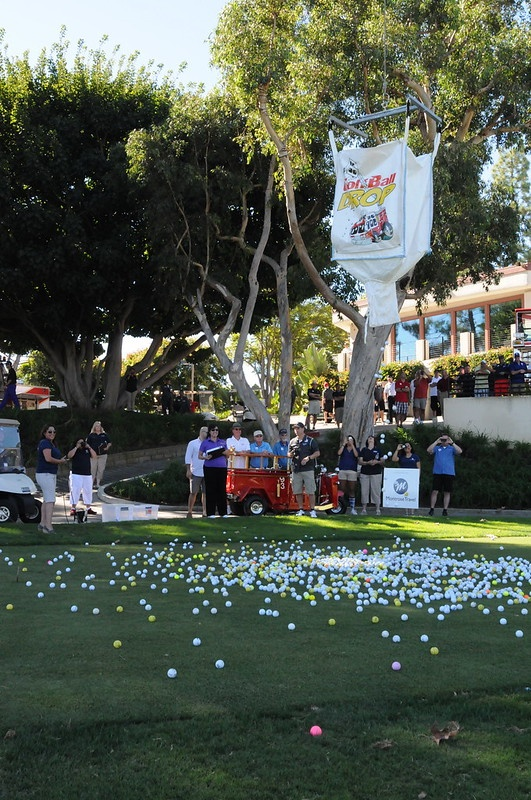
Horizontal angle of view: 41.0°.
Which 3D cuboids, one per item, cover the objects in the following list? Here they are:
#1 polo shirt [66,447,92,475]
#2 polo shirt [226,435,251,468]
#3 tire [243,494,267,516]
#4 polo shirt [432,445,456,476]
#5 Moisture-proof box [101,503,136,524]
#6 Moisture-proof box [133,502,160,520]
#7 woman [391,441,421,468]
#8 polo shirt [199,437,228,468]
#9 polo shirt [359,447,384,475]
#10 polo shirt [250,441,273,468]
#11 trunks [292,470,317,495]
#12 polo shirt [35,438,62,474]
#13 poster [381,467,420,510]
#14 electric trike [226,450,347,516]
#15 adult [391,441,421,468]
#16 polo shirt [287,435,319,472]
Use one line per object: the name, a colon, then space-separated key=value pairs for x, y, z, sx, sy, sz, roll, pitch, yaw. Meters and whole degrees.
polo shirt: x=-3.399 y=1.142 z=13.200 sx=0.342 sy=0.581 sz=0.599 roll=2 pitch=-1 yaw=-16
polo shirt: x=-0.560 y=1.090 z=14.650 sx=0.595 sy=0.985 sz=0.514 roll=1 pitch=-10 yaw=-10
tire: x=-0.227 y=2.103 z=14.195 sx=0.411 sy=0.443 sz=0.148 roll=-1 pitch=-1 yaw=-23
polo shirt: x=3.747 y=1.278 z=14.962 sx=0.410 sy=0.640 sz=0.342 roll=1 pitch=-1 yaw=12
Moisture-proof box: x=-2.628 y=2.054 z=12.844 sx=0.386 sy=0.403 sz=0.514 roll=-3 pitch=-4 yaw=21
Moisture-proof box: x=-2.172 y=2.053 z=12.937 sx=0.377 sy=0.263 sz=0.396 roll=-1 pitch=0 yaw=-1
woman: x=2.957 y=1.178 z=15.045 sx=0.485 sy=0.522 sz=1.026 roll=1 pitch=-1 yaw=6
polo shirt: x=-0.980 y=1.002 z=13.334 sx=0.477 sy=0.573 sz=0.380 roll=2 pitch=-1 yaw=-6
polo shirt: x=2.325 y=1.377 z=15.807 sx=0.676 sy=0.848 sz=0.527 roll=-1 pitch=-5 yaw=2
polo shirt: x=-0.122 y=1.168 z=14.727 sx=0.595 sy=0.745 sz=0.461 roll=1 pitch=-10 yaw=-11
trunks: x=0.748 y=1.652 z=14.186 sx=0.367 sy=0.536 sz=0.304 roll=6 pitch=30 yaw=34
polo shirt: x=-3.374 y=0.887 z=11.131 sx=0.353 sy=0.587 sz=0.585 roll=2 pitch=-1 yaw=-18
poster: x=2.778 y=1.820 z=14.614 sx=0.914 sy=1.059 sz=0.115 roll=2 pitch=-5 yaw=12
electric trike: x=0.330 y=1.774 z=14.837 sx=2.103 sy=1.276 sz=1.119 roll=-2 pitch=1 yaw=-16
adult: x=2.970 y=1.180 z=15.105 sx=0.493 sy=0.522 sz=1.145 roll=1 pitch=-1 yaw=8
polo shirt: x=0.738 y=1.085 z=13.984 sx=0.541 sy=0.735 sz=0.541 roll=2 pitch=-1 yaw=1
